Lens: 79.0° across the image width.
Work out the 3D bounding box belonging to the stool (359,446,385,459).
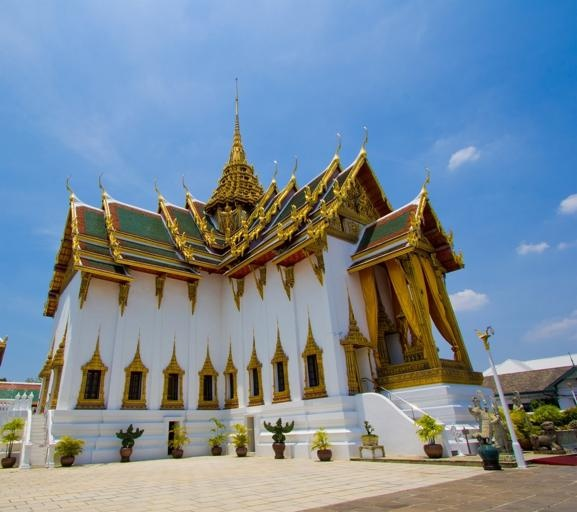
[{"bbox_3d":[1.941,4.462,8.049,0.554,0.284,0.936,-10,-23,10],"label":"stool"}]

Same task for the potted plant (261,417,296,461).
[{"bbox_3d":[-0.180,5.030,9.738,0.823,0.956,0.773,-8,-24,4],"label":"potted plant"}]

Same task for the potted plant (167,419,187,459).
[{"bbox_3d":[-3.395,5.716,10.878,0.569,0.833,0.570,4,-24,-14],"label":"potted plant"}]

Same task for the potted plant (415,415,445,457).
[{"bbox_3d":[2.977,3.780,7.305,0.487,0.801,0.511,5,-41,-6],"label":"potted plant"}]

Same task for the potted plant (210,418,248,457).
[{"bbox_3d":[-1.804,5.742,11.237,1.004,1.110,2.077,9,-27,-31],"label":"potted plant"}]

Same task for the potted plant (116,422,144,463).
[{"bbox_3d":[-4.656,5.433,10.286,0.998,1.049,0.782,5,-41,-12],"label":"potted plant"}]

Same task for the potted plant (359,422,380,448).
[{"bbox_3d":[1.957,4.253,8.350,0.423,0.519,0.409,19,-34,-31],"label":"potted plant"}]

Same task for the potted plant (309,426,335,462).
[{"bbox_3d":[0.839,4.588,8.472,0.461,0.691,0.469,-21,-35,34],"label":"potted plant"}]
